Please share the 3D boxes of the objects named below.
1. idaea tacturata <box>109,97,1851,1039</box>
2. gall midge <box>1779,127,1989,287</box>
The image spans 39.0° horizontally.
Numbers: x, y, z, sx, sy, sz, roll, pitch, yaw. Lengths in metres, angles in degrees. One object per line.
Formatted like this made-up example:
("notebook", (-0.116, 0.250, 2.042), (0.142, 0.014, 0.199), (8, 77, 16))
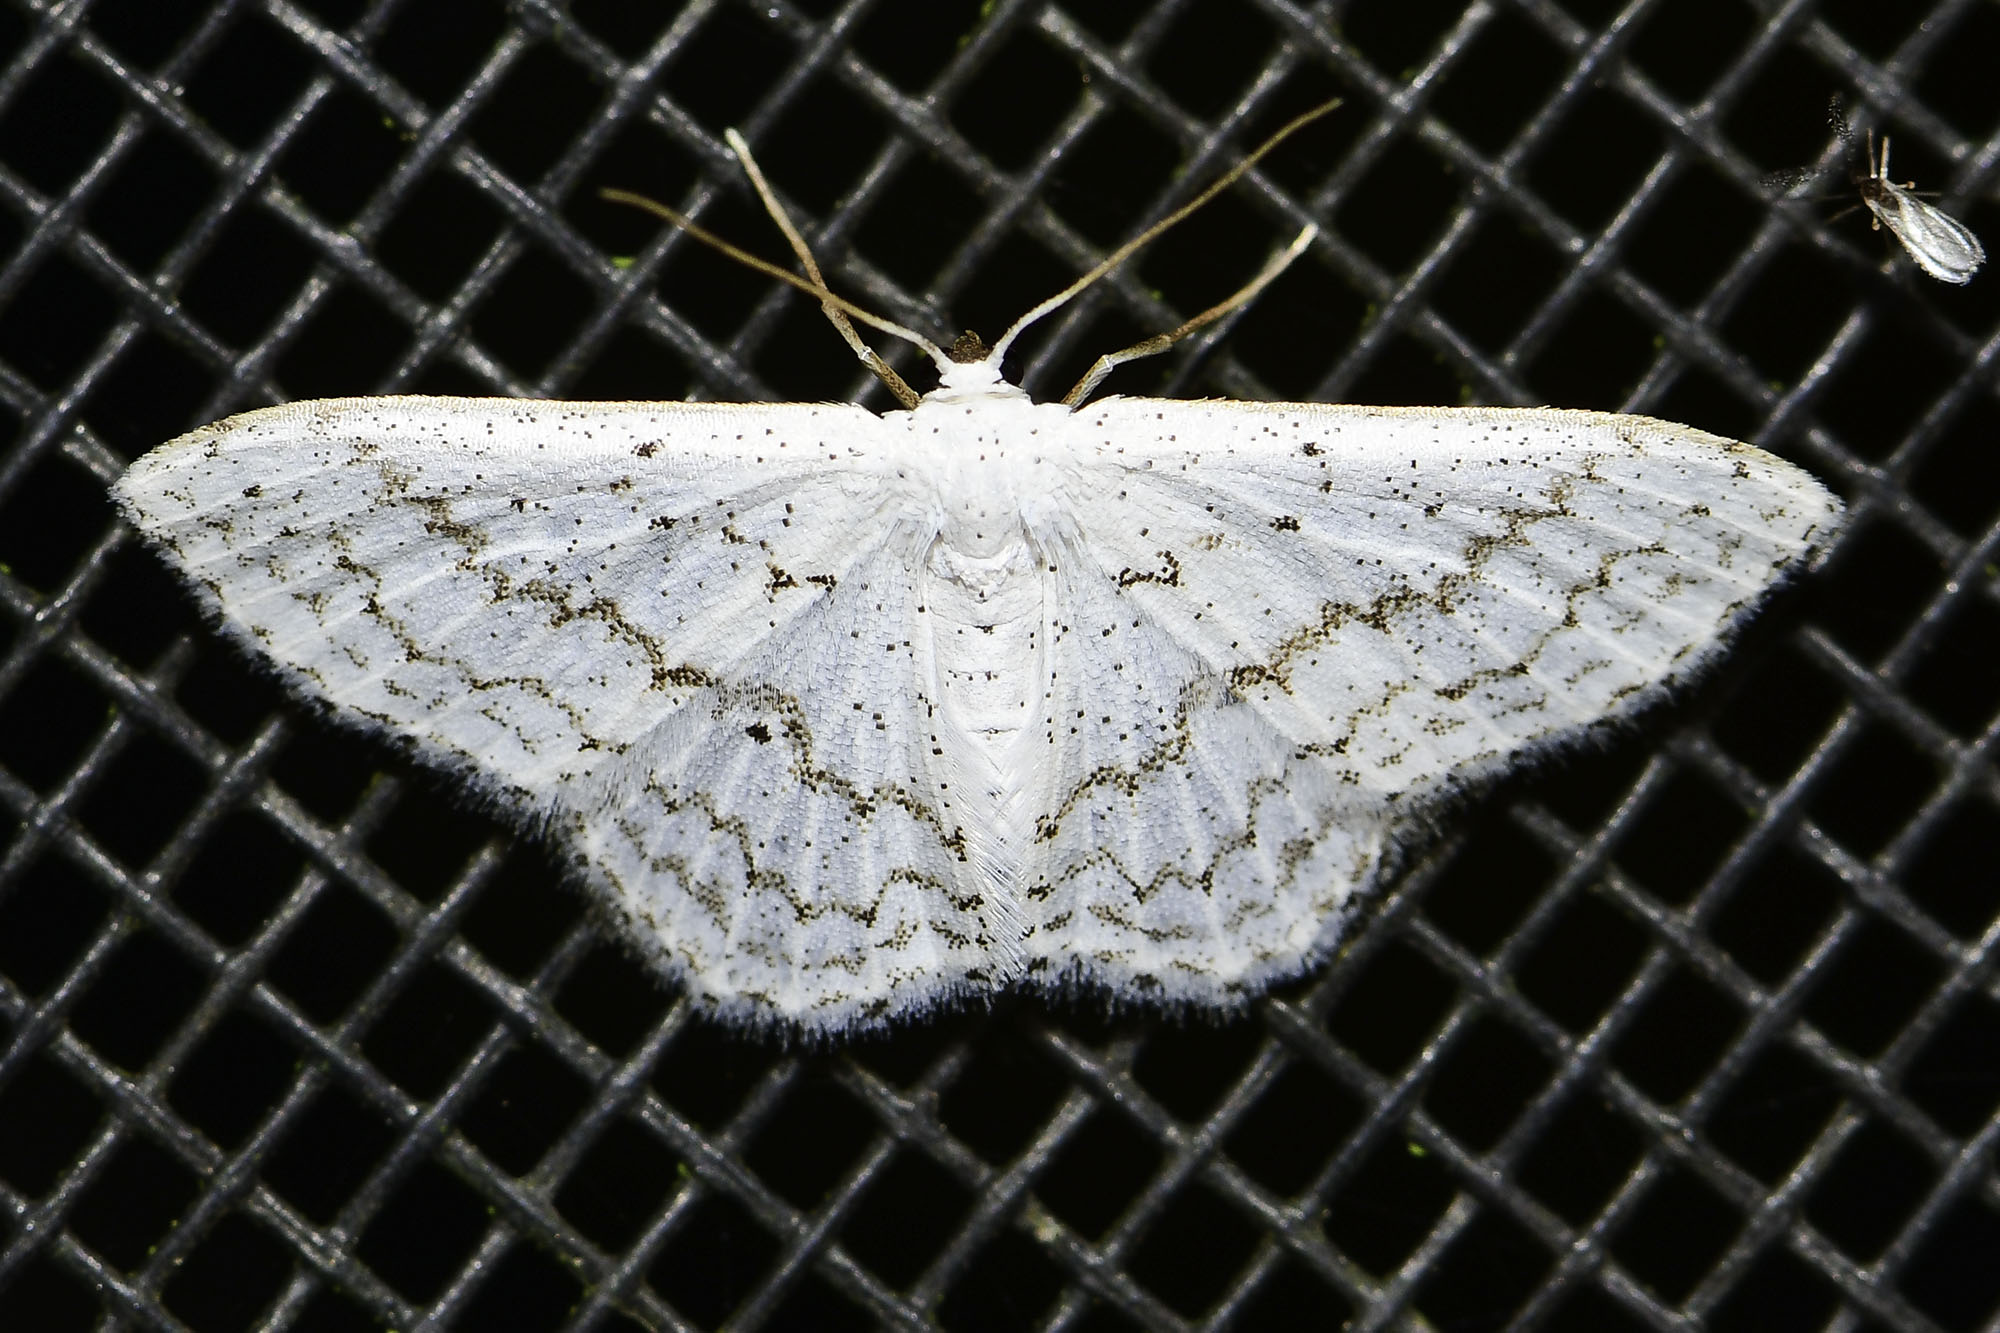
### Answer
("idaea tacturata", (-0.048, -0.218, 6.319), (3.901, 0.576, 2.066), (1, -92, -1))
("gall midge", (2.035, -1.046, 6.346), (0.414, 0.183, 0.166), (40, -79, -9))
